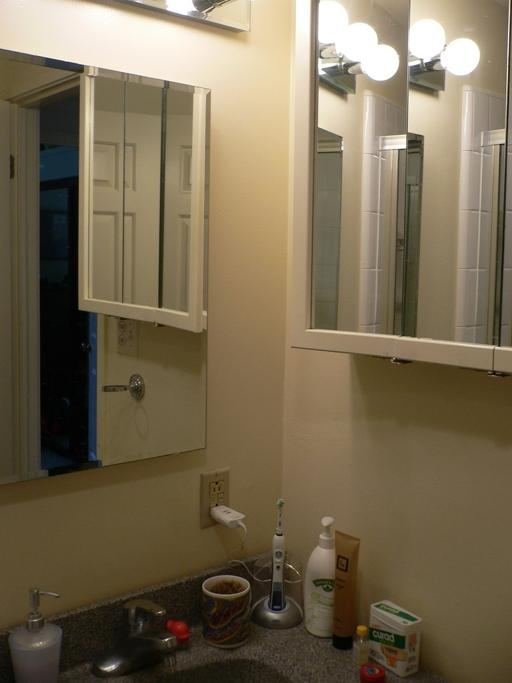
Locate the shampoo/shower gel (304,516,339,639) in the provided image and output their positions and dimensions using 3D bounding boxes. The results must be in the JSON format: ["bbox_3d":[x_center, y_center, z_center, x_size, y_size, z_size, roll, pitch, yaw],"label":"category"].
[{"bbox_3d":[0.118,0.453,1.079,0.058,0.208,0.056,-1,-3,10],"label":"shampoo/shower gel"}]

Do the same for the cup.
[{"bbox_3d":[-0.053,0.504,1.080,0.100,0.106,0.117,-1,-3,-10],"label":"cup"}]

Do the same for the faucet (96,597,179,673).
[{"bbox_3d":[-0.216,0.503,1.000,0.147,0.102,0.097,0,-3,-28],"label":"faucet"}]

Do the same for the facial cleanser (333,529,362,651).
[{"bbox_3d":[0.168,0.456,1.078,0.050,0.201,0.107,-1,-3,10],"label":"facial cleanser"}]
